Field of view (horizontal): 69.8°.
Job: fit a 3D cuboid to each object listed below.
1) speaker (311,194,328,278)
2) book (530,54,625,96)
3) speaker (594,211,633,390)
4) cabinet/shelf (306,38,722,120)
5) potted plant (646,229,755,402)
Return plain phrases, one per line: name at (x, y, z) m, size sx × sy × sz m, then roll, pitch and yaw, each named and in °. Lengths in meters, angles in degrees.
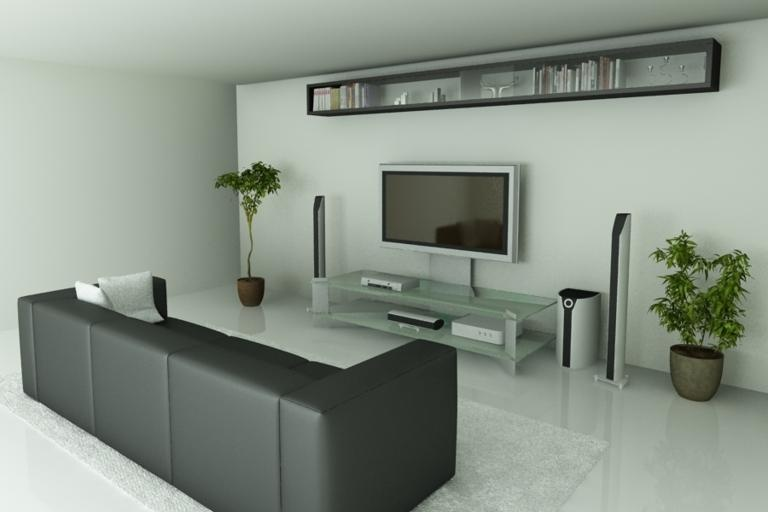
speaker at (-0.825, -0.255, 7.125) m, size 0.103 × 1.026 × 0.270 m, roll 2°, pitch 11°, yaw 19°
book at (1.877, -1.763, 5.365) m, size 0.805 × 0.296 × 0.129 m, roll 5°, pitch 12°, yaw 31°
speaker at (2.149, 0.408, 5.126) m, size 0.296 × 1.604 × 0.313 m, roll 5°, pitch 13°, yaw 33°
cabinet/shelf at (1.217, -1.822, 5.826) m, size 3.999 × 0.461 × 0.364 m, roll 5°, pitch 12°, yaw 31°
potted plant at (2.849, 0.519, 5.016) m, size 0.759 × 1.460 × 0.639 m, roll 5°, pitch 12°, yaw 33°
